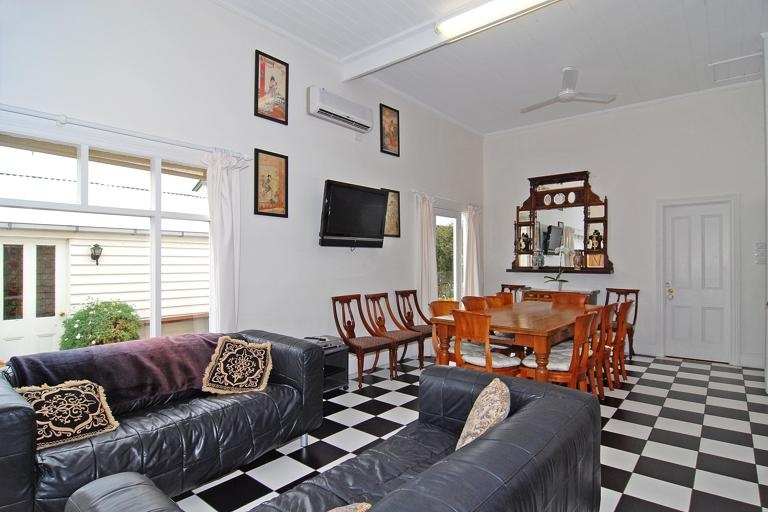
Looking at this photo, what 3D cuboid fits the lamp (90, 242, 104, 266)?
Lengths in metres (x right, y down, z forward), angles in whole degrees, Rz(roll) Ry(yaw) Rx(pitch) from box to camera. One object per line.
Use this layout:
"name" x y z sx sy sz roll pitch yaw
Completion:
"lamp" -2.752 -0.027 4.500 0.104 0.203 0.035 0 -2 -32

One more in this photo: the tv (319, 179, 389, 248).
"tv" -0.394 -0.561 6.289 1.096 0.834 0.116 2 7 -45

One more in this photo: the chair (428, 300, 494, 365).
"chair" 0.781 0.901 5.588 0.502 0.639 0.466 -3 6 -28

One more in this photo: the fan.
"fan" 2.346 -2.060 5.903 0.873 0.319 0.813 2 1 19

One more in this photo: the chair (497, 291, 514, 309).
"chair" 1.735 0.607 6.778 0.209 0.254 0.210 2 -5 -36

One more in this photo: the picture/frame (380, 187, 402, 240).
"picture/frame" 0.085 -0.646 6.865 0.061 0.883 0.782 5 -1 26

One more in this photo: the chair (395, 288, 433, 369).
"chair" 0.466 0.934 6.839 0.483 0.830 0.579 -4 5 -41

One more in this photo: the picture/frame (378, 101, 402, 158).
"picture/frame" 0.083 -1.880 6.993 0.087 0.741 0.470 -2 -2 34

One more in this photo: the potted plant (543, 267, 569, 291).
"potted plant" 2.898 0.373 7.935 0.350 0.350 0.336 -3 6 -23

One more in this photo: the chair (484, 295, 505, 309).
"chair" 1.551 0.642 6.653 0.192 0.224 0.185 -3 -3 38

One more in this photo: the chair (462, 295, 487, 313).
"chair" 1.251 0.635 6.378 0.241 0.292 0.211 2 -7 -36

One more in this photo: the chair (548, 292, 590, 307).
"chair" 2.612 0.601 6.615 0.283 0.272 0.282 2 5 -9

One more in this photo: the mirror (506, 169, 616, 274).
"mirror" 2.993 -0.540 8.081 0.161 1.699 1.775 -1 1 -43
